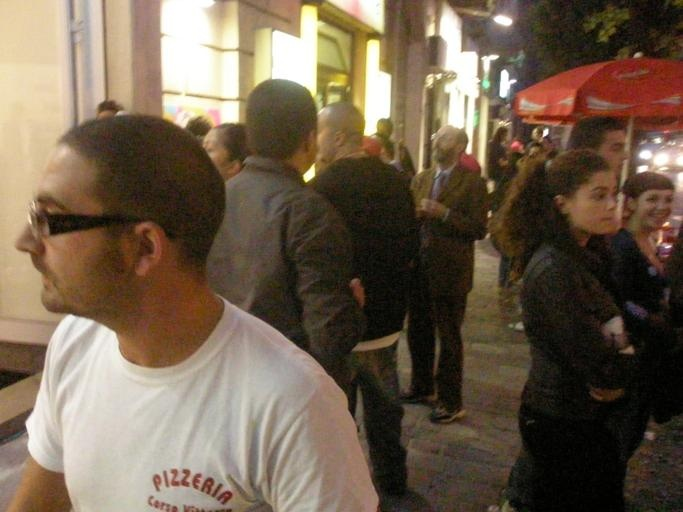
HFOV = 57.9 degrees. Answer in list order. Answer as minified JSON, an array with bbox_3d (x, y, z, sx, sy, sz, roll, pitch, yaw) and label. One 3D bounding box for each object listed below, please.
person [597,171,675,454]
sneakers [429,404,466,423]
[{"bbox_3d":[1.341,0.258,2.780,0.297,1.231,0.437,5,16,21],"label":"person"},{"bbox_3d":[0.786,1.179,4.628,0.257,0.108,0.103,0,16,-12],"label":"sneakers"}]
